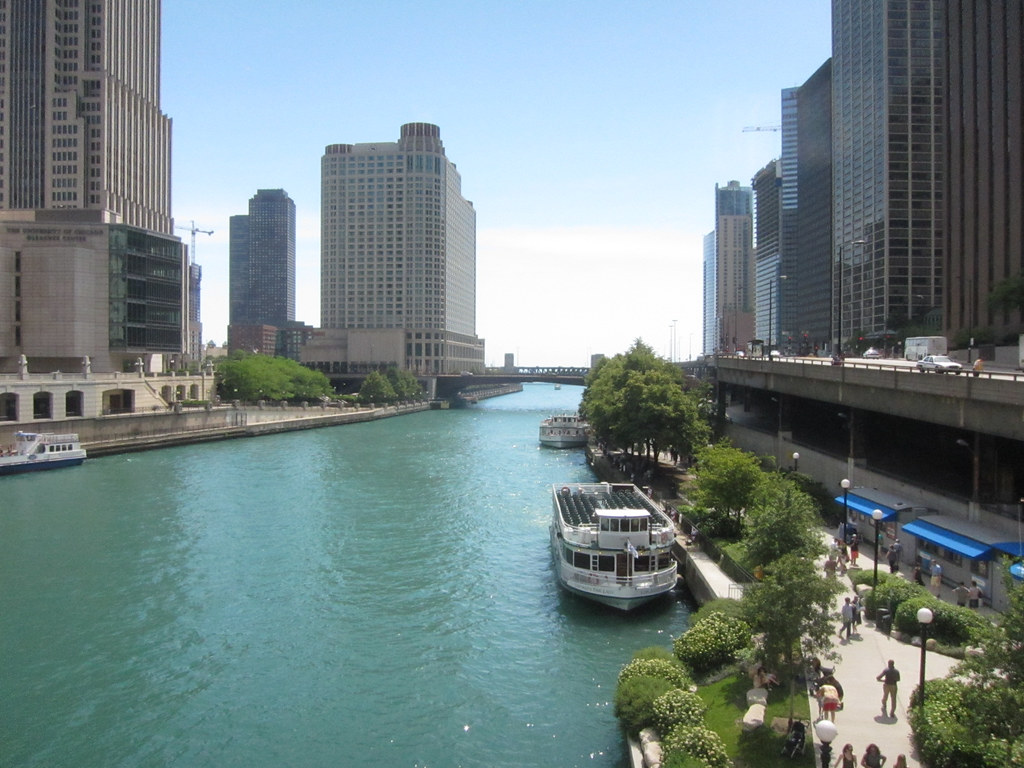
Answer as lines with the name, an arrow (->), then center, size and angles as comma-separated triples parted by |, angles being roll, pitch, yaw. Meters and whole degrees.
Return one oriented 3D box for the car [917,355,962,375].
car -> 35.645, -1.890, 78.758 | 1.923, 1.451, 4.400 | 0, -4, 4
